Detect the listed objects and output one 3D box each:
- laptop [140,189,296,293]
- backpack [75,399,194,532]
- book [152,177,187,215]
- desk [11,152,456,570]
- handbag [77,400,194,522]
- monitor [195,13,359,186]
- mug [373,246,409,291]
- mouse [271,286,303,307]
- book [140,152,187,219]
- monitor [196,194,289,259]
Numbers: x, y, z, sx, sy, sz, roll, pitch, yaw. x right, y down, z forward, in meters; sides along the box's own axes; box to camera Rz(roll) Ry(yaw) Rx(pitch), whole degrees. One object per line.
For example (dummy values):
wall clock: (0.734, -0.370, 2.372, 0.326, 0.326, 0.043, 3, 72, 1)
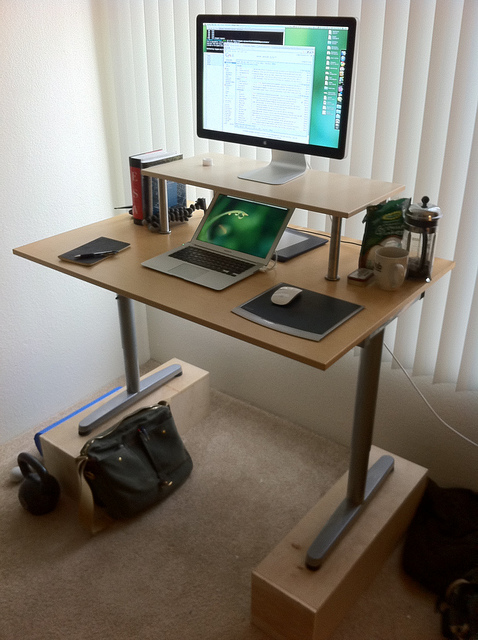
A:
laptop: (-0.071, -0.248, 1.456, 0.343, 0.152, 0.362, 23, 35, 35)
backpack: (-0.359, 0.481, 1.816, 0.225, 0.318, 0.472, 0, 23, 46)
book: (-0.237, -0.411, 1.677, 0.050, 0.091, 0.095, 18, 30, 30)
desk: (-0.023, 0.044, 1.577, 1.037, 0.944, 0.675, 21, 34, 34)
handbag: (-0.366, 0.502, 1.754, 0.165, 0.242, 0.307, 6, 25, 40)
monitor: (0.068, -0.625, 1.344, 0.536, 0.321, 0.046, 25, 36, 37)
mug: (0.368, -0.125, 1.251, 0.080, 0.100, 0.085, 20, 34, 32)
mouse: (0.112, -0.061, 1.227, 0.052, 0.020, 0.100, 18, 33, 29)
book: (-0.254, -0.440, 1.655, 0.076, 0.218, 0.157, 25, 42, 33)
monitor: (0.002, -0.284, 1.517, 0.289, 0.017, 0.206, 18, 75, 31)
